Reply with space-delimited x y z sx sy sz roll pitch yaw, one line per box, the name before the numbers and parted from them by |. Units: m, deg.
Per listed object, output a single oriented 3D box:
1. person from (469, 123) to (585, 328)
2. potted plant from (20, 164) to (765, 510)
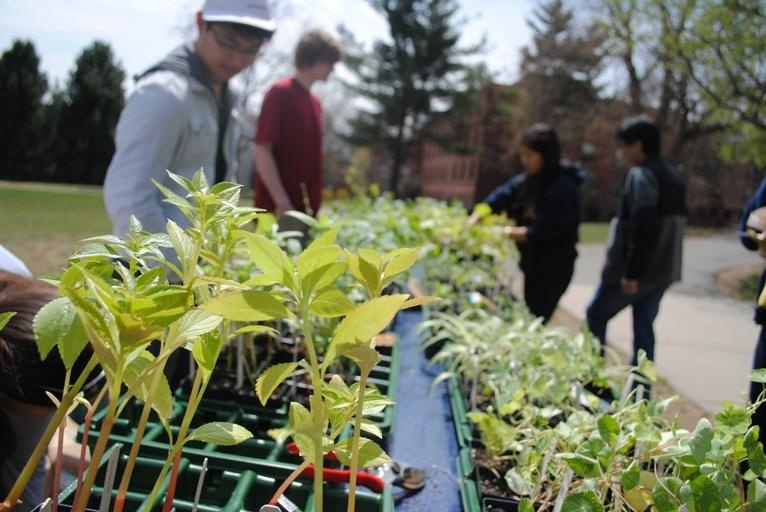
person | 0.597 -0.121 2.943 0.292 0.286 0.733 -10 -29 6
potted plant | -0.236 0.293 1.879 1.660 0.642 0.786 9 3 13
